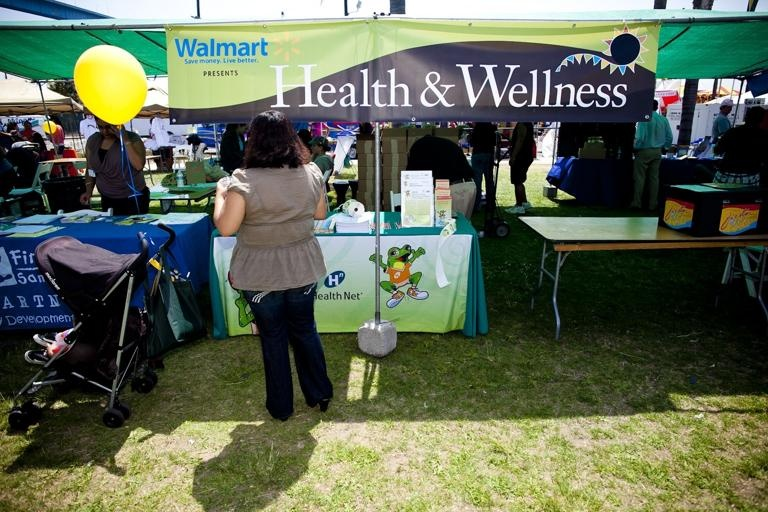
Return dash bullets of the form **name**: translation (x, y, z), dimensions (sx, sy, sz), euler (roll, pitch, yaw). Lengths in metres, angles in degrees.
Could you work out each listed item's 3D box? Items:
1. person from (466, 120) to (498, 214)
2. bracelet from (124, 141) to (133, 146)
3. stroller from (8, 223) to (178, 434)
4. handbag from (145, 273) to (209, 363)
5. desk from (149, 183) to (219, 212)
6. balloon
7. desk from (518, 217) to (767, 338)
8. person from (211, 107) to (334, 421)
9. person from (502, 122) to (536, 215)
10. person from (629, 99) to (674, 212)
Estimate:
- **person**: translation (2.086, -1.712, 9.487), dimensions (0.512, 1.895, 0.438), euler (-5, 33, 5)
- **bracelet**: translation (-3.101, -1.373, 5.506), dimensions (0.021, 0.055, 0.072), euler (10, 22, 37)
- **stroller**: translation (-2.570, 0.648, 4.042), dimensions (1.226, 1.597, 0.788), euler (-3, 18, 4)
- **handbag**: translation (-2.052, 0.575, 4.411), dimensions (0.668, 0.438, 0.836), euler (-6, 0, -1)
- **desk**: translation (-4.034, -1.174, 9.130), dimensions (1.001, 0.375, 1.578), euler (-1, 19, -3)
- **balloon**: translation (-2.872, -1.775, 4.867), dimensions (0.657, 0.859, 0.469), euler (-2, 21, -15)
- **desk**: translation (2.721, 0.074, 5.605), dimensions (2.116, 1.261, 1.603), euler (-5, 17, -3)
- **person**: translation (-0.980, 0.125, 3.973), dimensions (0.889, 2.563, 0.827), euler (-8, 18, -35)
- **person**: translation (2.768, -2.016, 9.384), dimensions (0.601, 2.165, 0.695), euler (3, 12, 23)
- **person**: translation (5.799, -2.238, 10.049), dimensions (0.865, 2.196, 0.615), euler (-1, 9, -7)
